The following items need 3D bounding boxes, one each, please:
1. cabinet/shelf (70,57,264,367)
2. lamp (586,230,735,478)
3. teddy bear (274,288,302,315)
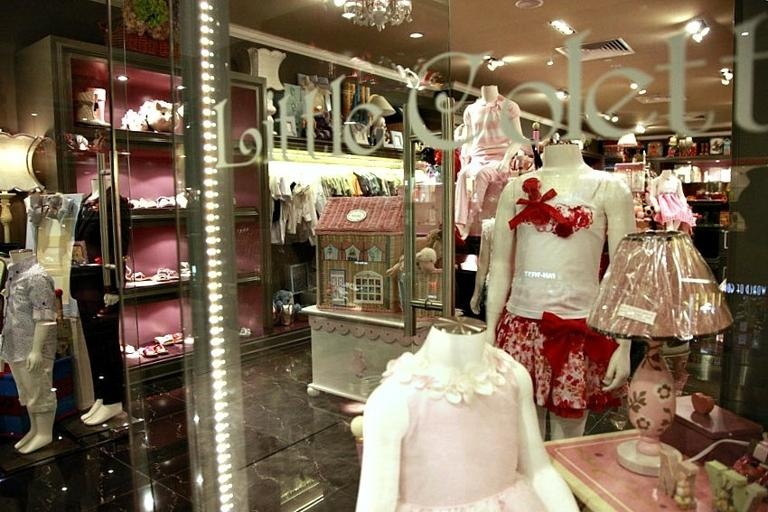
[{"bbox_3d":[-1.175,-0.246,2.862,0.589,1.505,1.390,-6,7,-38],"label":"cabinet/shelf"},{"bbox_3d":[0.937,0.345,1.862,0.429,0.857,0.218,2,6,32],"label":"lamp"},{"bbox_3d":[-0.473,0.213,2.608,0.136,0.082,0.085,1,2,30],"label":"teddy bear"}]
